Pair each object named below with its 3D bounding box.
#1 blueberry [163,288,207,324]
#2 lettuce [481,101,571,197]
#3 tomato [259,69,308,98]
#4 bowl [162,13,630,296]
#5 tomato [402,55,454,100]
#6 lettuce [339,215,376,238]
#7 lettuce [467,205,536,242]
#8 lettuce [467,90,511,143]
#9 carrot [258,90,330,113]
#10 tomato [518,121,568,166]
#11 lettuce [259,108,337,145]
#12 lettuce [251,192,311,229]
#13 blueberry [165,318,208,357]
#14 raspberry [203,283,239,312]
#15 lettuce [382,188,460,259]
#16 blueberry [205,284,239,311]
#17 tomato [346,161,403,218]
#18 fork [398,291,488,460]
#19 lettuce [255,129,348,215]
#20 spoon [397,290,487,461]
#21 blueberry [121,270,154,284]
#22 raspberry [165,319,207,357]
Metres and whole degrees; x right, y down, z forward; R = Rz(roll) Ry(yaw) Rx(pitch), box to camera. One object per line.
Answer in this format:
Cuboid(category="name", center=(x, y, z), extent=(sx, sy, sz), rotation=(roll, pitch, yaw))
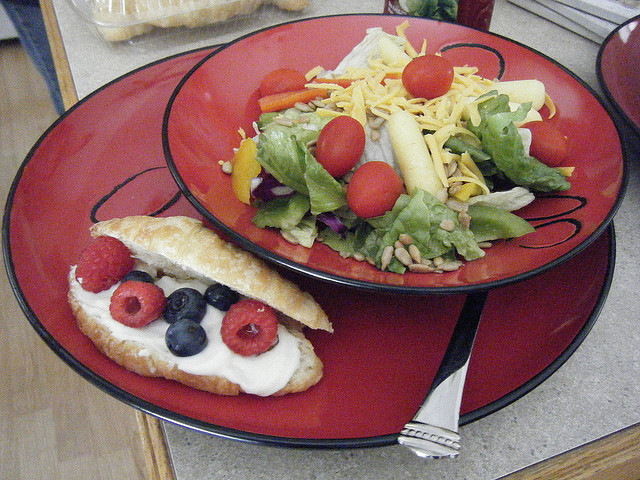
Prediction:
Cuboid(category="blueberry", center=(-0.289, 0.140, 1.356), extent=(0.102, 0.068, 0.084), rotation=(18, 29, 35))
Cuboid(category="lettuce", center=(0.457, -0.186, 1.437), extent=(0.192, 0.061, 0.221), rotation=(-13, 73, -21))
Cuboid(category="tomato", center=(-0.099, -0.413, 1.610), extent=(0.104, 0.053, 0.077), rotation=(-16, 58, -11))
Cuboid(category="bowl", center=(0.227, -0.238, 1.487), extent=(0.913, 0.196, 0.849), rotation=(3, 42, -3))
Cuboid(category="tomato", center=(0.271, -0.418, 1.536), extent=(0.149, 0.097, 0.135), rotation=(16, 30, 30))
Cuboid(category="lettuce", center=(0.091, -0.030, 1.401), extent=(0.064, 0.021, 0.056), rotation=(-3, 58, -29))
Cuboid(category="lettuce", center=(0.390, -0.040, 1.346), extent=(0.166, 0.067, 0.087), rotation=(-3, 10, -22))
Cuboid(category="lettuce", center=(0.403, -0.301, 1.480), extent=(0.124, 0.108, 0.090), rotation=(-3, 22, -1))
Cuboid(category="carrot", center=(-0.060, -0.356, 1.574), extent=(0.135, 0.027, 0.035), rotation=(-15, 41, -1))
Cuboid(category="tomato", center=(0.538, -0.229, 1.494), extent=(0.087, 0.079, 0.106), rotation=(-21, 55, -33))
Cuboid(category="lettuce", center=(-0.067, -0.304, 1.609), extent=(0.209, 0.081, 0.146), rotation=(-17, 21, -36))
Cuboid(category="lettuce", center=(-0.081, -0.060, 1.371), extent=(0.101, 0.024, 0.090), rotation=(-7, 37, -16))
Cuboid(category="blueberry", center=(-0.277, 0.201, 1.256), extent=(0.080, 0.044, 0.071), rotation=(10, 66, -14))
Cuboid(category="raspberry", center=(-0.220, 0.126, 1.339), extent=(0.063, 0.033, 0.054), rotation=(37, 38, 23))
Cuboid(category="lettuce", center=(0.220, -0.028, 1.332), extent=(0.175, 0.051, 0.156), rotation=(31, 88, 1))
Cuboid(category="blueberry", center=(-0.219, 0.124, 1.339), extent=(0.071, 0.037, 0.051), rotation=(20, 69, 8))
Cuboid(category="tomato", center=(0.121, -0.111, 1.398), extent=(0.109, 0.126, 0.102), rotation=(31, 2, -22))
Cuboid(category="fork", center=(0.294, 0.255, 1.317), extent=(0.102, 0.029, 0.648), rotation=(13, 26, 18))
Cuboid(category="lettuce", center=(0.002, -0.190, 1.453), extent=(0.188, 0.176, 0.261), rotation=(-21, 31, -37))
Cuboid(category="spoon", center=(0.302, 0.217, 1.303), extent=(0.113, 0.045, 0.656), rotation=(18, 37, 14))
Cuboid(category="blueberry", center=(-0.406, 0.082, 1.360), extent=(0.041, 0.019, 0.038), rotation=(-8, 28, -33))
Cuboid(category="raspberry", center=(-0.279, 0.200, 1.255), extent=(0.079, 0.043, 0.070), rotation=(12, 66, -13))
